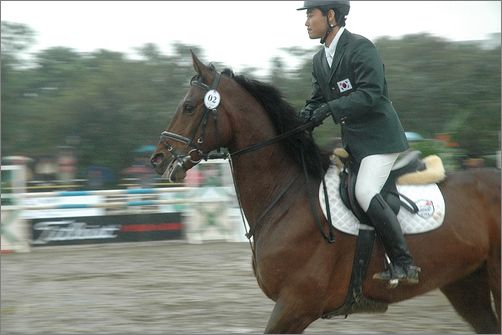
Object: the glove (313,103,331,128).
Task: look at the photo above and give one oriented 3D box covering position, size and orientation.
[{"bbox_3d":[1.057,-0.758,12.234,0.109,0.315,0.234,48,-4,-17],"label":"glove"}]
